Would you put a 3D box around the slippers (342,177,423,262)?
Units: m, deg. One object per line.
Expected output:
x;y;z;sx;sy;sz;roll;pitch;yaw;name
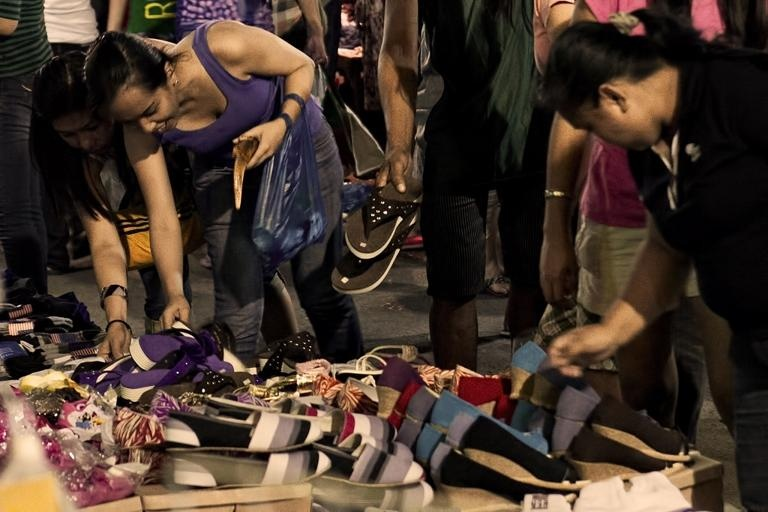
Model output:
0.027;-0.110;3.115;0.186;0.366;0.109;34;-7;30;slippers
